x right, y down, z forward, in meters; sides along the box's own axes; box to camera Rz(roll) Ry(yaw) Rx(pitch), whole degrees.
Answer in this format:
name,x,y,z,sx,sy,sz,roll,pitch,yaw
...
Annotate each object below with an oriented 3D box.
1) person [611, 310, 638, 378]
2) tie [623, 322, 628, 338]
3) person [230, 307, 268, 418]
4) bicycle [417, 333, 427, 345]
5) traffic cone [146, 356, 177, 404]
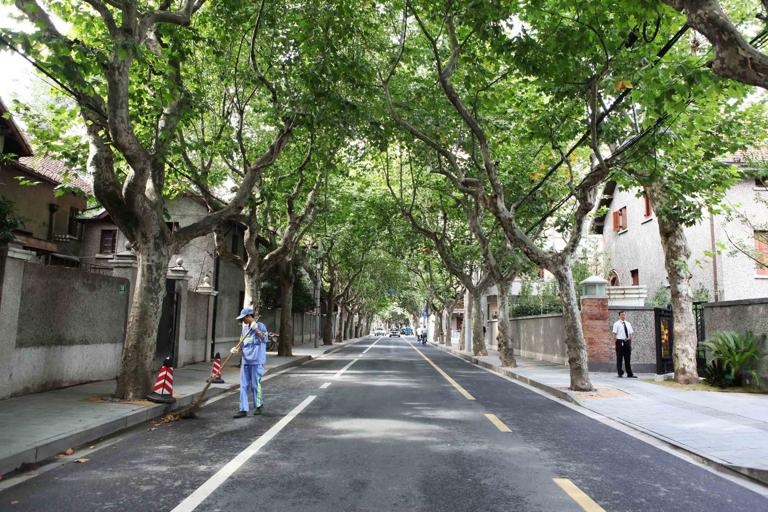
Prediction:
name,x,y,z,sx,sy,sz,roll,pitch,yaw
person,8.481,3.166,19.001,0.562,2.316,1.105,-5,-10,24
tie,8.427,2.632,18.666,0.190,0.514,0.154,-1,-9,-2
person,-3.103,2.382,12.232,1.077,2.542,0.934,-1,-1,2
bicycle,3.978,8.840,56.169,0.801,1.179,1.980,1,-12,4
traffic cone,-5.215,2.938,12.561,0.589,1.071,1.132,3,-11,-22
